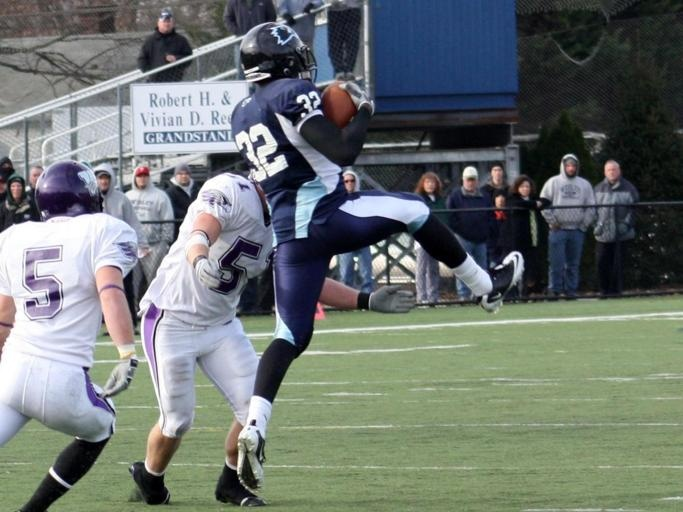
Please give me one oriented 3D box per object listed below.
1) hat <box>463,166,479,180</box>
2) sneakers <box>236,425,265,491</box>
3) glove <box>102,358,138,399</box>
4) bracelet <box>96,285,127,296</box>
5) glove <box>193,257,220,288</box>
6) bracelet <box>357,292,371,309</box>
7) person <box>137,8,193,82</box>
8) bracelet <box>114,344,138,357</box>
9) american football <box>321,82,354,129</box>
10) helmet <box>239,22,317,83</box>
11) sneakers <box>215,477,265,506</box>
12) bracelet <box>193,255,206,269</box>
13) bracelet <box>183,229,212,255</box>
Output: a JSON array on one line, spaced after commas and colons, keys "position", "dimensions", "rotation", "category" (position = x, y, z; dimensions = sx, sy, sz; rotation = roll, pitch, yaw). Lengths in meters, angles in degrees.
[{"position": [1.695, -1.113, 19.185], "dimensions": [0.195, 0.149, 0.293], "rotation": [5, -9, 1], "category": "hat"}, {"position": [-0.651, 1.512, 10.828], "dimensions": [0.182, 0.481, 0.238], "rotation": [-2, 10, 4], "category": "sneakers"}, {"position": [-1.635, 0.893, 10.628], "dimensions": [0.265, 0.326, 0.256], "rotation": [-3, 10, -9], "category": "glove"}, {"position": [-1.676, 0.245, 10.605], "dimensions": [0.197, 0.090, 0.087], "rotation": [-7, 11, -30], "category": "bracelet"}, {"position": [-1.009, 0.121, 10.790], "dimensions": [0.167, 0.224, 0.093], "rotation": [30, 61, 35], "category": "glove"}, {"position": [0.165, 0.355, 11.597], "dimensions": [0.121, 0.119, 0.126], "rotation": [-7, 13, -36], "category": "bracelet"}, {"position": [-2.462, -2.929, 20.053], "dimensions": [0.737, 0.975, 0.840], "rotation": [-3, 10, -8], "category": "person"}, {"position": [-1.581, 0.682, 10.620], "dimensions": [0.104, 0.104, 0.105], "rotation": [-9, 3, 31], "category": "bracelet"}, {"position": [-0.030, -1.177, 11.250], "dimensions": [0.149, 0.320, 0.236], "rotation": [-17, -4, -43], "category": "american football"}, {"position": [-0.480, -1.605, 11.464], "dimensions": [0.559, 0.431, 0.426], "rotation": [-9, 7, -21], "category": "helmet"}, {"position": [-0.826, 1.822, 11.141], "dimensions": [0.441, 0.213, 0.155], "rotation": [1, 0, 28], "category": "sneakers"}, {"position": [-1.067, 0.042, 10.880], "dimensions": [0.085, 0.085, 0.065], "rotation": [22, -27, -18], "category": "bracelet"}, {"position": [-1.094, -0.093, 10.947], "dimensions": [0.170, 0.166, 0.149], "rotation": [0, 5, 9], "category": "bracelet"}]
